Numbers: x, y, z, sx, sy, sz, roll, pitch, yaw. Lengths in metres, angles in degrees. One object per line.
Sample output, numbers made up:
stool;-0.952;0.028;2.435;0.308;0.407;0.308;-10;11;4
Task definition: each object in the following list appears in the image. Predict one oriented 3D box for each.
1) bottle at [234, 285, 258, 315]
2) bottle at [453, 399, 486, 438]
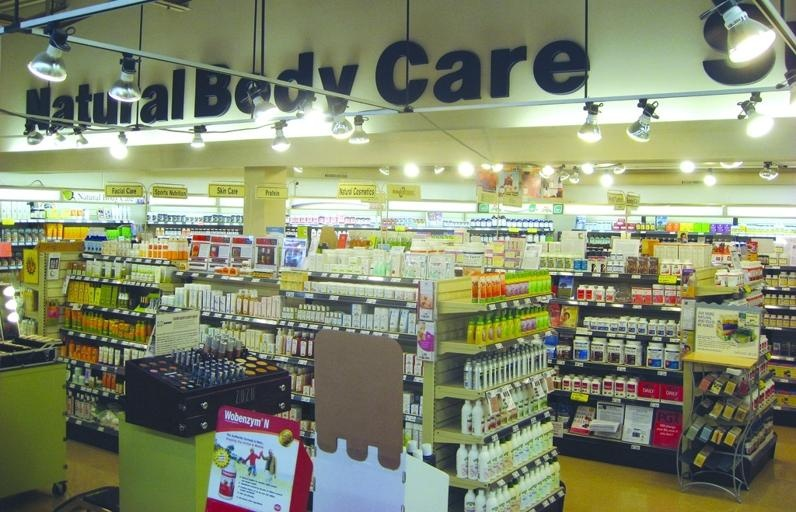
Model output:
bottle;-2.393;0.729;9.667;0.370;0.501;0.361;0;-1;0
bottle;0.892;1.911;7.334;0.306;0.415;0.182;2;9;8
